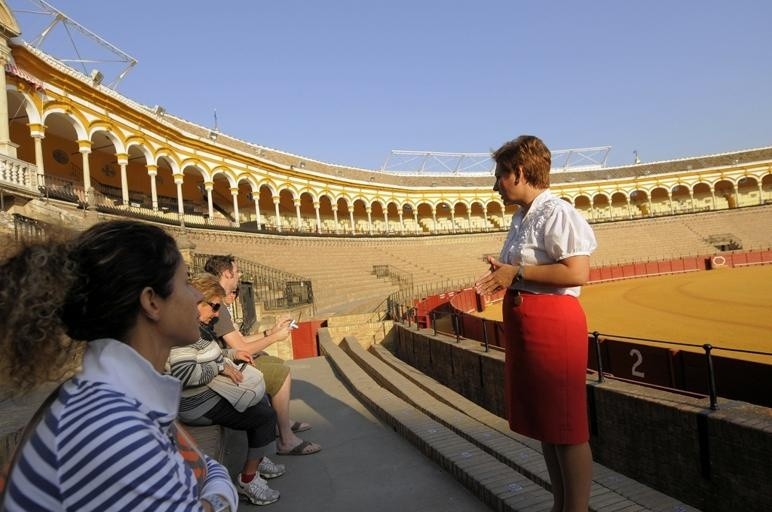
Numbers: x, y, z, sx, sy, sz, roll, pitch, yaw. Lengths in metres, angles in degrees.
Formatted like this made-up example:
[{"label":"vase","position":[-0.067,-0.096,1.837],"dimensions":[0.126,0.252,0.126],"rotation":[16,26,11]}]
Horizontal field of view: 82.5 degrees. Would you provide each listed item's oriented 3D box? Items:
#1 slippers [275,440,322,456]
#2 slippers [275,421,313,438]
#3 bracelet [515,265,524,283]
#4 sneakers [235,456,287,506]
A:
[{"label":"slippers","position":[-0.849,1.866,4.362],"dimensions":[0.331,0.089,0.160],"rotation":[-2,-2,-1]},{"label":"slippers","position":[-0.998,1.855,4.782],"dimensions":[0.363,0.085,0.164],"rotation":[-1,-2,-8]},{"label":"bracelet","position":[0.846,0.107,2.738],"dimensions":[0.050,0.076,0.077],"rotation":[1,-36,5]},{"label":"sneakers","position":[-1.039,1.828,3.684],"dimensions":[0.278,0.147,0.441],"rotation":[4,5,-7]}]
